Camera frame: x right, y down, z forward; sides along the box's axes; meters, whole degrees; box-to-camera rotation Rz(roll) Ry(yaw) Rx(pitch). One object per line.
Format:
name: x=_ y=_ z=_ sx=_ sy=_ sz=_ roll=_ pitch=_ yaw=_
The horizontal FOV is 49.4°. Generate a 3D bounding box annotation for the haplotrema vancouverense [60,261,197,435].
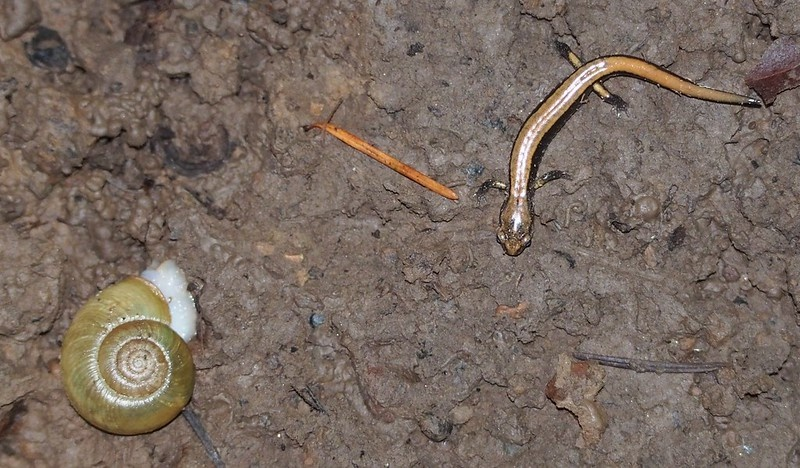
haplotrema vancouverense: x=-3.941 y=1.728 z=12.971 sx=1.896 sy=0.576 sz=2.450 roll=16 pitch=84 yaw=1

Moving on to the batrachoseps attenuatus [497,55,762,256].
batrachoseps attenuatus: x=2.782 y=-1.525 z=13.085 sx=3.883 sy=0.664 sz=1.685 roll=-36 pitch=85 yaw=-4
